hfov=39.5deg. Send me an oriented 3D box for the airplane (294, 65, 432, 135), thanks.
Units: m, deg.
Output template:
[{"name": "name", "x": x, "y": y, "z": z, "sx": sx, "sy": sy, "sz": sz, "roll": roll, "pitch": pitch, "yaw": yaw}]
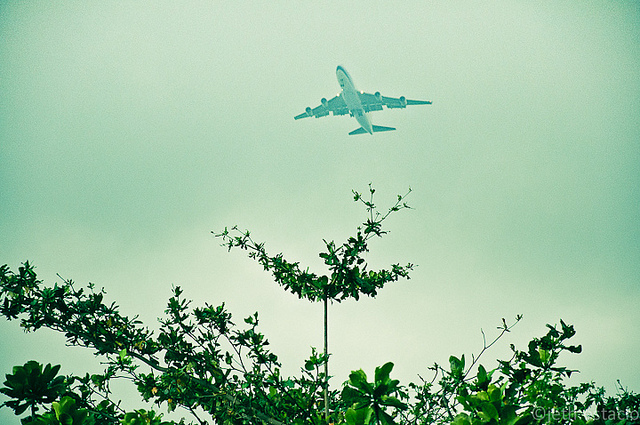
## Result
[{"name": "airplane", "x": 1.205, "y": -3.864, "z": 31.077, "sx": 3.225, "sy": 1.143, "sz": 2.924, "roll": -6, "pitch": -45, "yaw": 20}]
